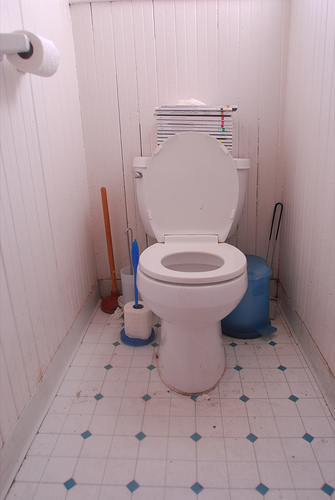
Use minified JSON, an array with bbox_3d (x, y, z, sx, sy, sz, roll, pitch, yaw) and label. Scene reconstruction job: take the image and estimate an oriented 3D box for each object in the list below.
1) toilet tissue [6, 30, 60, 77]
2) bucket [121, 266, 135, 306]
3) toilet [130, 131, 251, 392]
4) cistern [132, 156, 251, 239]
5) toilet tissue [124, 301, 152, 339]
[{"bbox_3d":[-0.340,-0.477,0.901,0.086,0.121,0.120,-3,11,9],"label":"toilet tissue"},{"bbox_3d":[-0.196,0.180,1.712,0.077,0.173,0.095,9,33,8],"label":"bucket"},{"bbox_3d":[0.074,0.053,1.290,0.321,0.870,0.592,0,18,2],"label":"toilet"},{"bbox_3d":[0.093,-0.263,1.405,0.337,0.360,0.349,-2,16,-1],"label":"cistern"},{"bbox_3d":[-0.126,0.297,1.505,0.098,0.131,0.109,9,23,20],"label":"toilet tissue"}]
